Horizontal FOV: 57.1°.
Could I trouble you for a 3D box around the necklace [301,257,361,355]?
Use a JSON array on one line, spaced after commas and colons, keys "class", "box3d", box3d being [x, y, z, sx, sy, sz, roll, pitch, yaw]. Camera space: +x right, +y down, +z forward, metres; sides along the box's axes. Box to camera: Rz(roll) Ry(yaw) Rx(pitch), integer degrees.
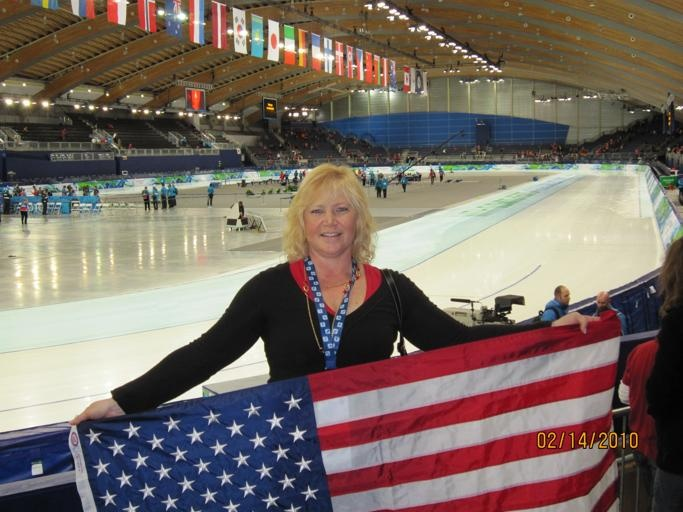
[{"class": "necklace", "box3d": [-0.087, 0.248, 3.202, 0.240, 0.474, 0.169, -2, 5, 17]}]
